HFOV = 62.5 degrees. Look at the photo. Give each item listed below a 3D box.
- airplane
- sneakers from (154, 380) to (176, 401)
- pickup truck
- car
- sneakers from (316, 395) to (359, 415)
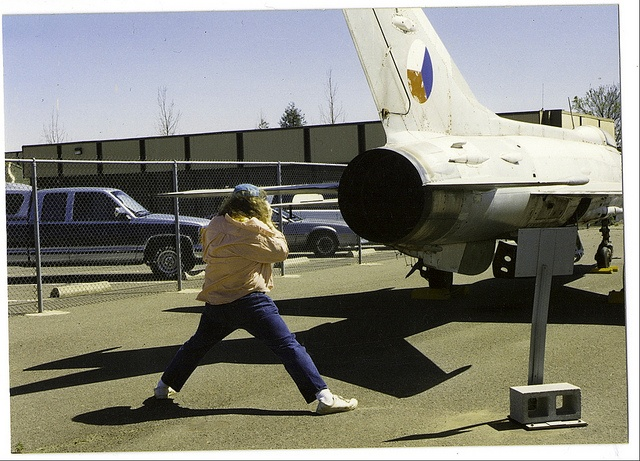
[{"bbox_3d":[2.692,-1.495,9.006,4.722,2.286,4.825,6,8,42],"label":"airplane"},{"bbox_3d":[-1.685,1.736,5.699,0.144,0.120,0.288,0,1,2],"label":"sneakers"},{"bbox_3d":[-5.400,-0.012,13.599,5.685,1.971,2.362,-2,2,-1],"label":"pickup truck"},{"bbox_3d":[-0.161,0.153,17.100,2.580,0.848,1.359,2,-1,0],"label":"car"},{"bbox_3d":[0.180,1.754,5.383,0.467,0.179,0.167,-3,7,-20],"label":"sneakers"}]
